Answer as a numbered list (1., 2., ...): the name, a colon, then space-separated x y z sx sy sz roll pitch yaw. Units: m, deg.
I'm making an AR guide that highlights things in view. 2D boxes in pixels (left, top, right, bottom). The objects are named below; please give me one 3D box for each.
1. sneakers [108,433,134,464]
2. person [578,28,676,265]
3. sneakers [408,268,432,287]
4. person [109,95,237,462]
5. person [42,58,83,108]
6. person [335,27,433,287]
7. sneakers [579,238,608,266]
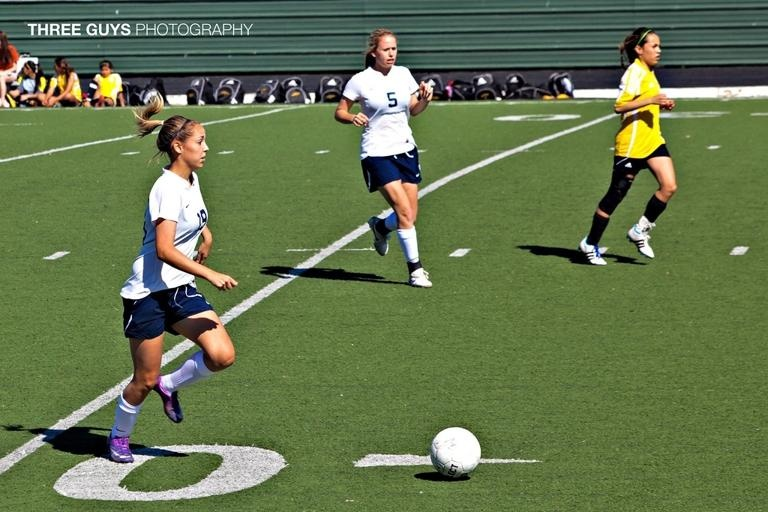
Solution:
1. sneakers: -1.743 1.275 6.589 0.109 0.106 0.280 0 7 -37
2. person: 2.734 -1.188 10.904 0.938 2.491 1.258 5 20 14
3. sneakers: 0.375 0.219 10.173 0.153 0.109 0.268 -3 6 -28
4. person: -1.480 0.177 6.742 0.905 2.240 1.011 -4 20 -9
5. person: -9.756 -5.261 30.355 1.078 1.518 1.444 -14 23 -35
6. person: 0.037 -1.019 10.257 0.967 2.529 1.172 -3 20 -8
7. sneakers: 2.291 -0.036 10.932 0.118 0.330 0.150 -47 -10 -18
